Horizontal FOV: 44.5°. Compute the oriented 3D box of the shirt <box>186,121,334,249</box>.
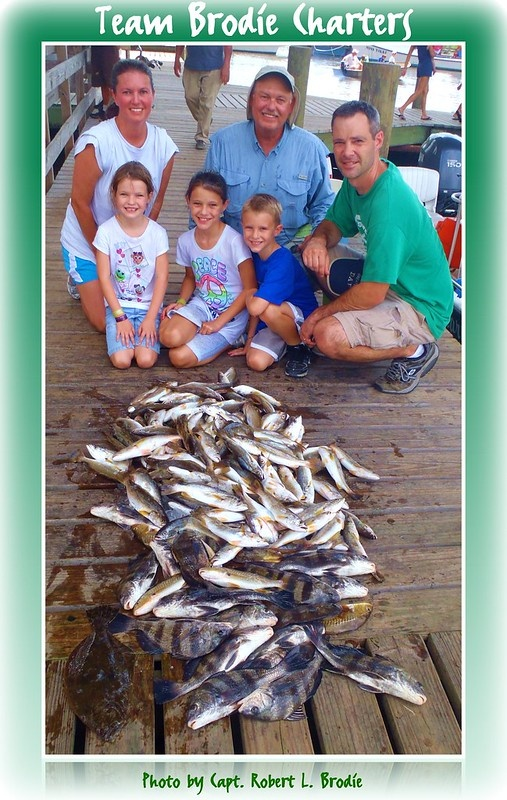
[{"bbox_3d":[0.077,-1.451,3.997,0.954,0.758,0.413,9,60,0],"label":"shirt"}]

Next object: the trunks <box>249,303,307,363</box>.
[{"bbox_3d":[0.142,-0.419,3.705,0.238,0.391,0.169,21,23,16],"label":"trunks"}]

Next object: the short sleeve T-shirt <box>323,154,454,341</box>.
[{"bbox_3d":[0.823,-0.910,3.635,0.593,0.983,0.882,-20,39,-6],"label":"short sleeve T-shirt"}]

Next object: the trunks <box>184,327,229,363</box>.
[{"bbox_3d":[-0.266,-0.328,3.645,0.134,0.078,0.232,47,37,10],"label":"trunks"}]

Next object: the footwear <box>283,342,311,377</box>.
[{"bbox_3d":[0.255,-0.232,3.649,0.091,0.105,0.267,0,24,7],"label":"footwear"}]

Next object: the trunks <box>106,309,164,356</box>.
[{"bbox_3d":[-0.752,-0.414,3.645,0.223,0.129,0.366,4,60,-18],"label":"trunks"}]

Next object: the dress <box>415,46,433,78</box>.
[{"bbox_3d":[2.450,-4.866,8.905,0.250,0.372,0.547,14,29,15],"label":"dress"}]

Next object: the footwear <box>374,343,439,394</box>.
[{"bbox_3d":[0.890,-0.188,3.615,0.110,0.301,0.136,49,2,10],"label":"footwear"}]

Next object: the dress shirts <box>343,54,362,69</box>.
[{"bbox_3d":[2.545,-8.745,15.939,0.436,0.374,0.624,5,28,-2],"label":"dress shirts"}]

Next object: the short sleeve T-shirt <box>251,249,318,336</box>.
[{"bbox_3d":[0.194,-0.685,3.658,0.425,0.402,0.465,6,28,0],"label":"short sleeve T-shirt"}]

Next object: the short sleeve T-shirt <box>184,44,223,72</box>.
[{"bbox_3d":[-0.491,-3.415,6.191,0.379,0.242,0.332,2,28,-7],"label":"short sleeve T-shirt"}]

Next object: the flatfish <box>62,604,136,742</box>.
[{"bbox_3d":[-0.462,0.807,1.886,0.187,0.058,0.513,-8,27,-12],"label":"flatfish"}]
